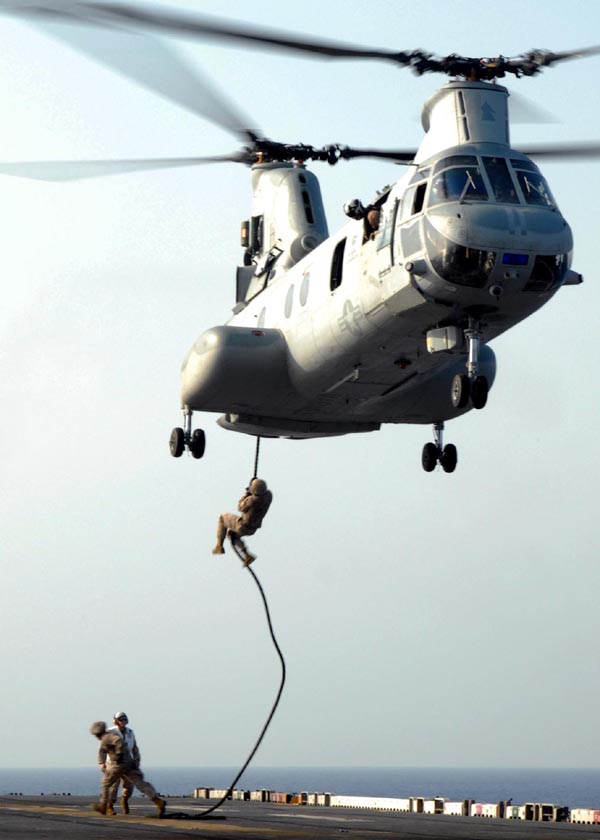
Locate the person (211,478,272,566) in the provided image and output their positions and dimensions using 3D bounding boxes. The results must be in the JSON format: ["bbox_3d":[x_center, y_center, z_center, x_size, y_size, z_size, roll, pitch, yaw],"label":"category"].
[{"bbox_3d":[-0.806,1.486,21.746,0.685,1.383,0.951,9,-15,-12],"label":"person"}]

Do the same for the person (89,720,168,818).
[{"bbox_3d":[-2.446,4.842,20.329,0.999,1.243,1.668,7,-14,-6],"label":"person"}]
